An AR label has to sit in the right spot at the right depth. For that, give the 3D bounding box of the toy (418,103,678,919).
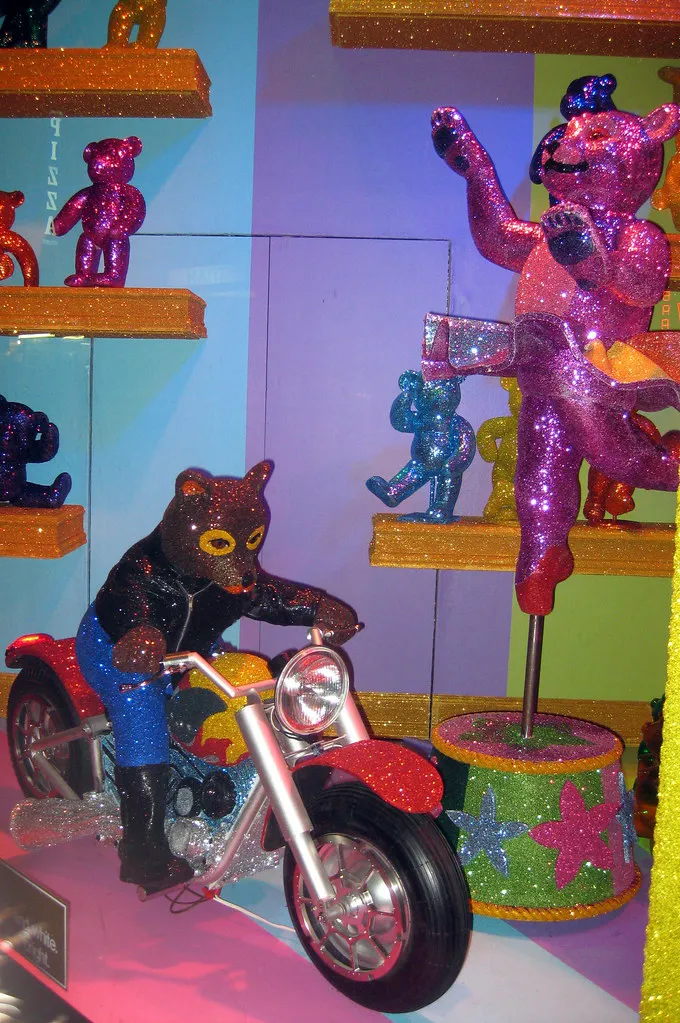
[{"bbox_3d":[0.391,-0.003,2.030,0.427,1.499,0.592,-1,12,-11],"label":"toy"}]

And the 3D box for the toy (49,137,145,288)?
[{"bbox_3d":[-0.601,-0.743,2.585,0.217,0.370,0.186,-1,12,-11],"label":"toy"}]

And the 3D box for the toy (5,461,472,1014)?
[{"bbox_3d":[-0.128,0.396,2.196,0.582,0.798,1.250,-4,8,-45],"label":"toy"}]
